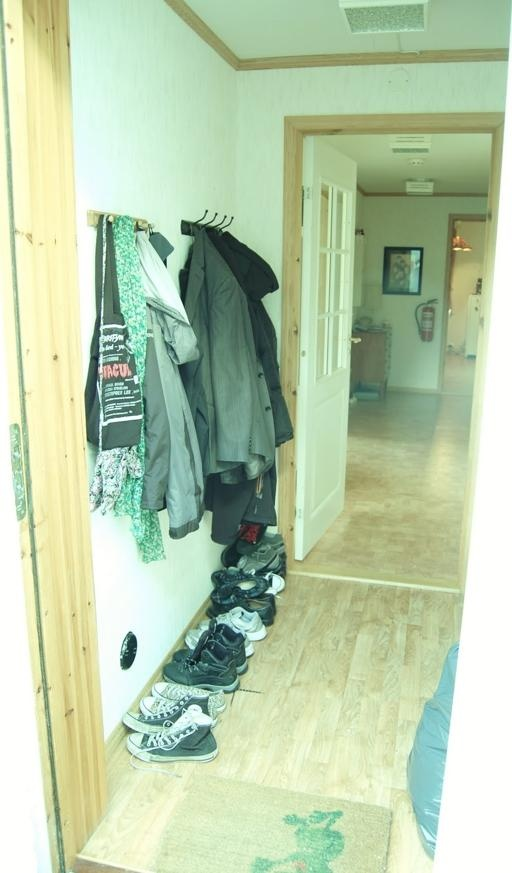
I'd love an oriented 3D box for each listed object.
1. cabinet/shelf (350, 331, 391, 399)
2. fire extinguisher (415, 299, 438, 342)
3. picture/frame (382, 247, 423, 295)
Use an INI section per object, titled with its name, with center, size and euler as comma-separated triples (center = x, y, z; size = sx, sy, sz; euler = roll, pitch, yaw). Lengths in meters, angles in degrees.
[cabinet/shelf]
center = 1.634, -1.033, 8.666
size = 0.488, 1.040, 0.718
euler = 6, 16, 20
[fire extinguisher]
center = 2.419, -1.642, 8.701
size = 0.312, 0.610, 0.128
euler = 2, 7, 18
[picture/frame]
center = 2.105, -2.378, 8.672
size = 0.486, 0.698, 0.028
euler = 6, 19, 17
